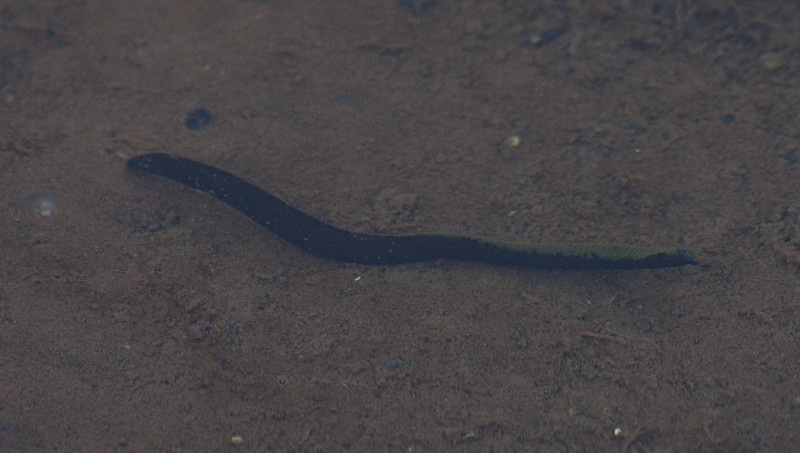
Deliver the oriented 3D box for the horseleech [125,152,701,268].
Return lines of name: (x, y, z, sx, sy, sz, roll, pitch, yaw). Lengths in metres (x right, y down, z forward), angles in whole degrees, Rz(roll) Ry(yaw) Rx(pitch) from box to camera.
horseleech: (0.528, -0.236, 16.697, 10.081, 0.396, 1.263, 8, 82, 2)
